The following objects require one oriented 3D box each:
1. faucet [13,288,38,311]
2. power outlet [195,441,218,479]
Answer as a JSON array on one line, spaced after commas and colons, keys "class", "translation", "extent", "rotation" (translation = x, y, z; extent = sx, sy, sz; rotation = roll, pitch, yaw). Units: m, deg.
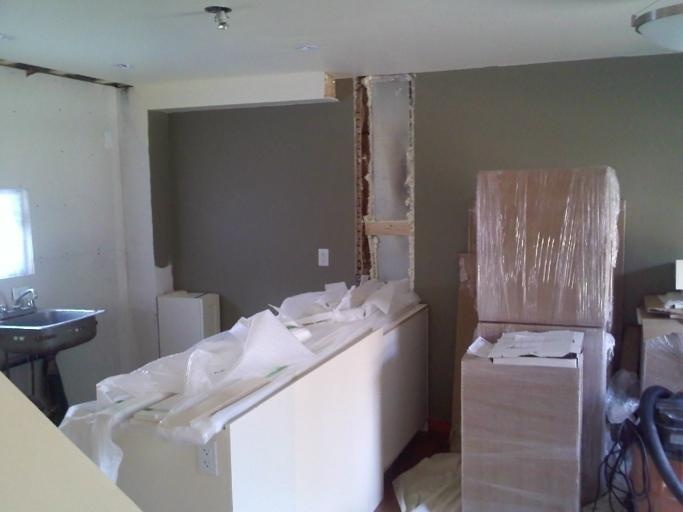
[{"class": "faucet", "translation": [-2.147, 0.290, 3.833], "extent": [0.116, 0.150, 0.151], "rotation": [2, 3, 19]}, {"class": "power outlet", "translation": [-0.508, 0.762, 2.107], "extent": [0.094, 0.135, 0.066], "rotation": [1, -14, -17]}]
